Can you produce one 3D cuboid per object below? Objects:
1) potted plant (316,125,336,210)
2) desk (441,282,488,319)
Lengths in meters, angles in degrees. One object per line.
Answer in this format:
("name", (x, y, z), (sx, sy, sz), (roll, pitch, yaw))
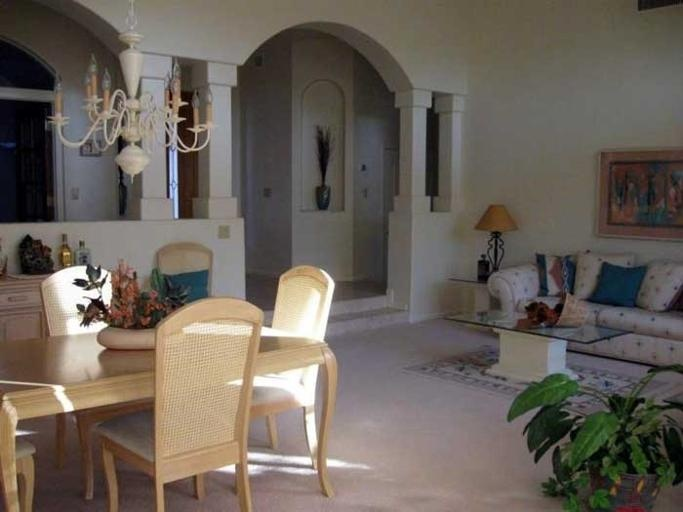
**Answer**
("potted plant", (-0.284, -1.454, 8.758), (0.272, 1.397, 0.259), (-1, 8, -7))
("desk", (1.763, 0.589, 7.455), (0.541, 0.542, 0.543), (1, -2, -38))
